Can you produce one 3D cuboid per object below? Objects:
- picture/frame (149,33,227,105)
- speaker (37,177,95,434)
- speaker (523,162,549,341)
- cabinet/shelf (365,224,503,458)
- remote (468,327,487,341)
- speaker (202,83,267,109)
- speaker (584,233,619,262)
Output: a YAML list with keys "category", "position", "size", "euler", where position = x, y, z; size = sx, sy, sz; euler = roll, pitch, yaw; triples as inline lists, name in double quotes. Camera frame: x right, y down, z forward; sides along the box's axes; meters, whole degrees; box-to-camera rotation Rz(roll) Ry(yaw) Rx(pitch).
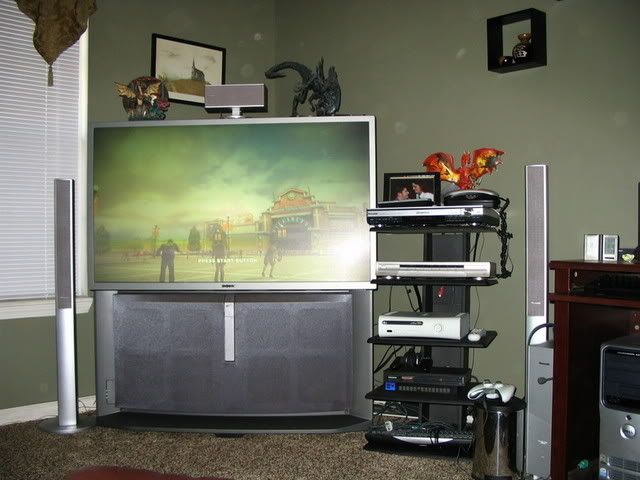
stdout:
- category: "picture/frame"
  position: [-1.006, -1.266, 4.461]
  size: [0.023, 0.494, 0.619]
  euler: [23, 23, 39]
- category: "speaker"
  position: [-1.641, 0.407, 3.664]
  size: [0.235, 1.552, 0.285]
  euler: [-2, 8, -5]
- category: "speaker"
  position: [1.152, 0.065, 3.094]
  size: [0.110, 0.904, 0.127]
  euler: [0, 8, 5]
- category: "cabinet/shelf"
  position: [0.673, 0.579, 3.539]
  size: [0.740, 1.272, 0.837]
  euler: [1, 9, 11]
- category: "remote"
  position: [0.873, 0.532, 3.246]
  size: [0.090, 0.043, 0.190]
  euler: [2, 9, 21]
- category: "speaker"
  position: [-0.537, -0.909, 3.731]
  size: [0.380, 0.149, 0.088]
  euler: [0, 8, 8]
- category: "speaker"
  position: [1.398, 0.041, 2.890]
  size: [0.160, 0.125, 0.220]
  euler: [3, 9, 25]
